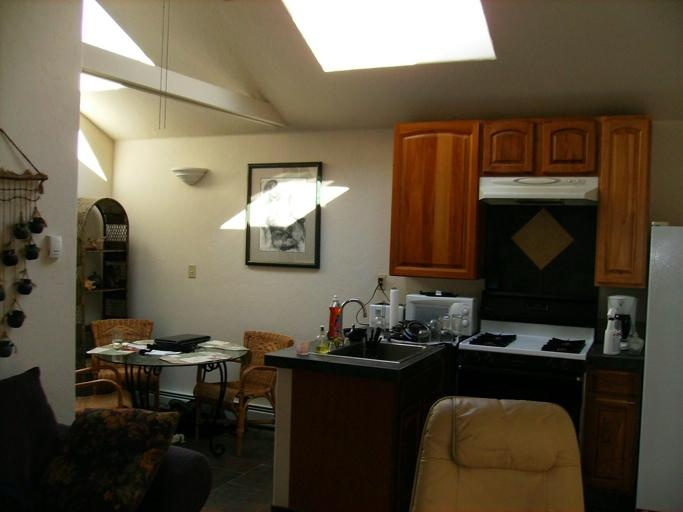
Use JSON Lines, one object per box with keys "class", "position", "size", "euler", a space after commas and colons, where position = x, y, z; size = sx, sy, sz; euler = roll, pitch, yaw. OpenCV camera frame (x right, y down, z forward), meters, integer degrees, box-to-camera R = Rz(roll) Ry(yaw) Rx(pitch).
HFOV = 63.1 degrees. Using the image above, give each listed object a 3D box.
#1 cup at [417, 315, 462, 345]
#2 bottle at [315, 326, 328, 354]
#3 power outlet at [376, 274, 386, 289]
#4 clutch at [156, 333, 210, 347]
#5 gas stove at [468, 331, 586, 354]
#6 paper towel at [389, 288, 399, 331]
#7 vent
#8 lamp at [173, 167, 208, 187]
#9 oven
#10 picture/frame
{"class": "cup", "position": [0.791, 0.571, 4.282], "size": [0.228, 0.158, 0.226], "euler": [0, 0, 0]}
{"class": "bottle", "position": [-0.126, 0.551, 3.688], "size": [0.089, 0.152, 0.206], "euler": [1, -1, -2]}
{"class": "power outlet", "position": [0.350, 0.225, 4.896], "size": [0.123, 0.176, 0.041], "euler": [3, 6, 26]}
{"class": "clutch", "position": [-1.304, 0.686, 4.535], "size": [0.290, 0.090, 0.385], "euler": [1, -1, 21]}
{"class": "gas stove", "position": [1.400, 0.641, 4.186], "size": [0.802, 0.079, 0.621], "euler": [1, -1, 24]}
{"class": "paper towel", "position": [0.434, 0.419, 4.533], "size": [0.074, 0.251, 0.153], "euler": [1, -1, 5]}
{"class": "vent", "position": [1.454, -0.497, 4.127], "size": [0.838, 0.127, 0.181], "euler": [1, -1, 19]}
{"class": "lamp", "position": [-1.492, -0.788, 5.495], "size": [0.320, 0.168, 0.158], "euler": [1, -1, 22]}
{"class": "oven", "position": [1.336, 1.021, 4.151], "size": [0.862, 0.586, 0.584], "euler": [1, -6, 24]}
{"class": "picture/frame", "position": [-0.513, -0.378, 5.184], "size": [1.009, 1.266, 0.052], "euler": [1, -1, 20]}
